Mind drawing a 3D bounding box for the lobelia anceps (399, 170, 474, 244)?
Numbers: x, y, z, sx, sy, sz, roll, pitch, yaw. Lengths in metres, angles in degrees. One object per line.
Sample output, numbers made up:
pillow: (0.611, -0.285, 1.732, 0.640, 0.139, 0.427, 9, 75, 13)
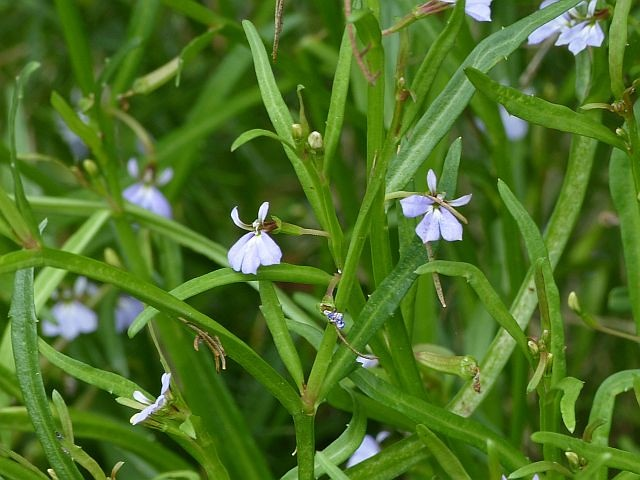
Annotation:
lobelia anceps: (0.109, -0.027, 0.685, 0.063, 0.088, 0.077, -6, 44, 7)

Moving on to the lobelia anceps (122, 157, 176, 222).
lobelia anceps: (-0.232, -0.069, 1.001, 0.073, 0.086, 0.089, 6, 69, -11)

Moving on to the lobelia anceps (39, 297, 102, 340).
lobelia anceps: (-0.411, 0.132, 1.174, 0.070, 0.023, 0.088, -1, 68, -10)

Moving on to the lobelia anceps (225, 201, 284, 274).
lobelia anceps: (-0.062, -0.010, 0.692, 0.047, 0.069, 0.054, -12, 10, -8)
